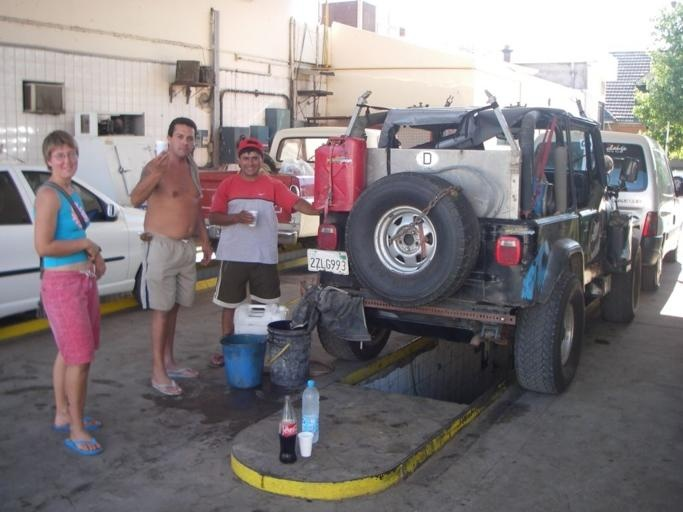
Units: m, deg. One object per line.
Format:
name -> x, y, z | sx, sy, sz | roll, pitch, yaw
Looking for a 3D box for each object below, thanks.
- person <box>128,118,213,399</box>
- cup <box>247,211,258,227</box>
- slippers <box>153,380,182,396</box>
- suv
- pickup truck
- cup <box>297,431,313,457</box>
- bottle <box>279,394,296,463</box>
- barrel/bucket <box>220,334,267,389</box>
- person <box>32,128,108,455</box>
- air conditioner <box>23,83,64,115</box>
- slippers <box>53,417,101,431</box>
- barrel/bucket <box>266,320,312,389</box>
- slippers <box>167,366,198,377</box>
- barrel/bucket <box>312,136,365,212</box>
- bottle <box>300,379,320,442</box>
person -> -1.490, -0.023, 5.284 | 0.621, 2.346, 0.779 | -2, 10, -14
cup -> -0.823, -0.340, 5.594 | 0.088, 0.161, 0.224 | -1, 10, -9
slippers -> -1.522, 1.138, 5.186 | 0.334, 0.095, 0.122 | 4, 10, 14
suv -> 1.544, -0.229, 5.962 | 1.923, 2.099, 3.486 | 6, 14, 32
pickup truck -> -0.901, -1.085, 9.857 | 1.723, 1.669, 3.197 | 5, 16, 25
cup -> -0.241, 1.262, 4.074 | 0.102, 0.162, 0.142 | 0, 10, -5
bottle -> -0.351, 1.122, 3.993 | 0.123, 0.470, 0.211 | 0, 10, -5
barrel/bucket -> -0.874, 0.956, 5.391 | 0.396, 0.406, 0.479 | -1, 2, -25
person -> -1.880, 0.256, 4.181 | 0.413, 2.207, 0.465 | -2, 10, -16
air conditioner -> -6.058, -3.220, 12.234 | 0.341, 0.602, 0.721 | 11, 15, 33
slippers -> -1.996, 1.274, 4.509 | 0.338, 0.104, 0.145 | -2, 6, 2
barrel/bucket -> -0.437, 0.863, 5.486 | 0.473, 0.566, 0.467 | 0, 6, 0
slippers -> -1.456, 1.077, 5.502 | 0.254, 0.076, 0.109 | 2, 19, -4
barrel/bucket -> -0.014, -0.691, 5.282 | 0.363, 0.679, 0.465 | -1, -12, 21
bottle -> -0.213, 1.068, 4.154 | 0.125, 0.500, 0.295 | 0, 10, -3
